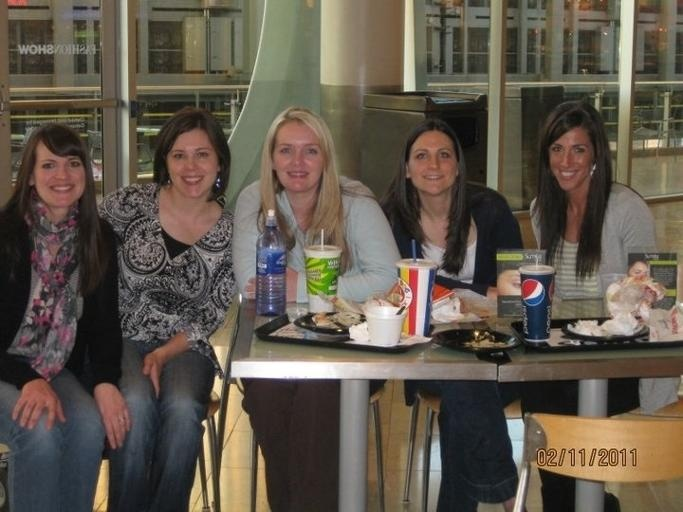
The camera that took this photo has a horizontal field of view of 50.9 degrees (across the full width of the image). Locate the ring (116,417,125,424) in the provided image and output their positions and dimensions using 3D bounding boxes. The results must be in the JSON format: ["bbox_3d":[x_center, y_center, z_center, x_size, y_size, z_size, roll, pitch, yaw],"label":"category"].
[{"bbox_3d":[-0.714,0.536,2.339,0.021,0.026,0.009,-3,5,-33],"label":"ring"}]

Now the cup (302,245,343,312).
[{"bbox_3d":[-0.061,0.078,2.269,0.127,0.195,0.134,-2,3,0],"label":"cup"}]

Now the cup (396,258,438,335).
[{"bbox_3d":[0.220,0.123,2.100,0.134,0.202,0.135,2,1,0],"label":"cup"}]

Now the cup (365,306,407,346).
[{"bbox_3d":[0.123,0.181,1.948,0.103,0.086,0.106,1,1,0],"label":"cup"}]
